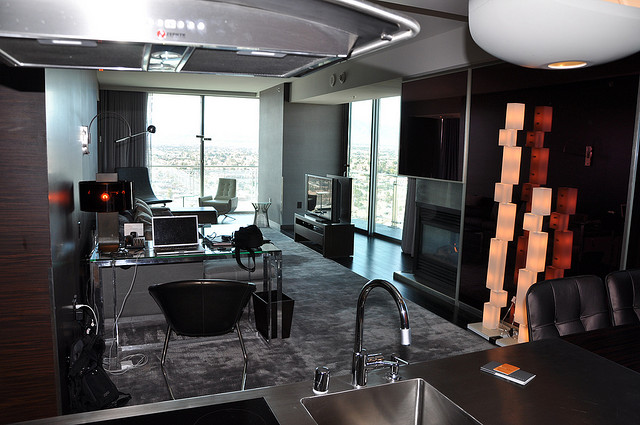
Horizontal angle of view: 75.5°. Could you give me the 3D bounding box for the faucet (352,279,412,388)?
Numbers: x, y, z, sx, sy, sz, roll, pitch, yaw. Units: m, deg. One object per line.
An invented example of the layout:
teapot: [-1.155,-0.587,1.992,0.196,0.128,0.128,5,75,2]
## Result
faucet: [0.247,0.491,1.677,0.219,0.483,0.199,2,11,4]

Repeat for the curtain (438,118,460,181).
curtain: [1.582,-0.748,5.098,0.351,0.762,0.095,-3,4,-21]

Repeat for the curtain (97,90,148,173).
curtain: [-4.931,-2.001,10.289,1.249,1.984,0.404,-3,12,-19]

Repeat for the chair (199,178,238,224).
chair: [-2.459,-0.300,10.087,0.922,0.954,0.939,-3,11,-30]

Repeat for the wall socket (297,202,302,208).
wall socket: [-0.484,-0.172,9.476,0.117,0.092,0.026,1,-1,-30]

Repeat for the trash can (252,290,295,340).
trash can: [-0.482,0.987,4.197,0.338,0.459,0.427,-4,11,-22]

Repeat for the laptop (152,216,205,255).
laptop: [-1.351,0.229,3.923,0.466,0.274,0.324,-2,13,-24]

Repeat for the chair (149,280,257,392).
chair: [-0.970,0.944,3.460,0.816,0.675,0.578,2,-16,-12]

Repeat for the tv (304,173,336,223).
tv: [0.055,-0.254,7.466,0.361,0.805,1.247,-2,9,-24]
